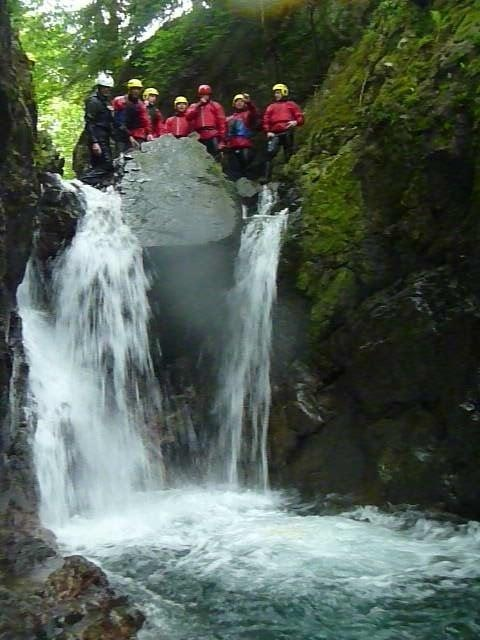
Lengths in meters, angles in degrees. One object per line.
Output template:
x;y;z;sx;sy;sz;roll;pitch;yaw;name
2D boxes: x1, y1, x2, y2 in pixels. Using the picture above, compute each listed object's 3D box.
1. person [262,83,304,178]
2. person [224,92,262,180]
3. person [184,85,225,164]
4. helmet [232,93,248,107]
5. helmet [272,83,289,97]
0.702;-3.261;11.191;0.897;1.488;0.452;5;17;42;person
0.024;-3.284;11.815;0.662;1.439;0.907;-6;12;1;person
-0.599;-3.477;11.539;0.684;1.280;0.537;-6;12;1;person
0.016;-3.838;11.378;0.267;0.234;0.299;-5;10;1;helmet
0.696;-3.901;11.076;0.243;0.200;0.197;-9;11;-19;helmet
